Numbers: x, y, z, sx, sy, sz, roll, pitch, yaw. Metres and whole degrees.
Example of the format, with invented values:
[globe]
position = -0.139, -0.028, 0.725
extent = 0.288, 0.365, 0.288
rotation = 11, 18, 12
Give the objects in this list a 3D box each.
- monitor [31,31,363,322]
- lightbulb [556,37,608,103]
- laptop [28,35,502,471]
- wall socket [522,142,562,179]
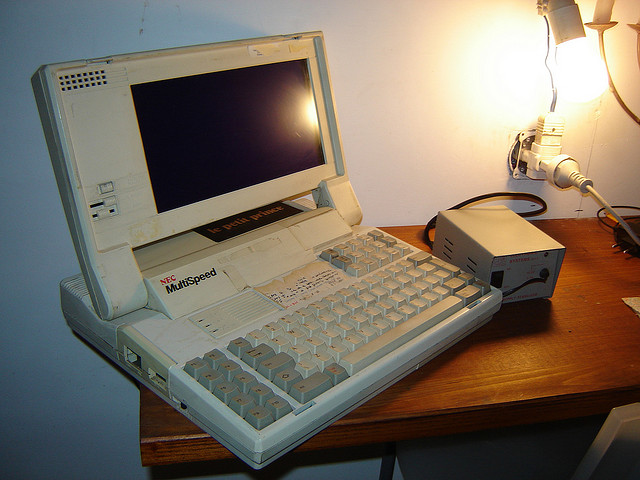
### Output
[monitor]
position = -0.215, -0.114, 0.833
extent = 0.610, 0.387, 0.208
rotation = -19, 43, -32
[lightbulb]
position = 0.615, -0.408, 1.126
extent = 0.100, 0.128, 0.090
rotation = -28, 30, 16
[laptop]
position = -0.045, -0.034, 0.837
extent = 0.562, 0.457, 0.644
rotation = 28, 35, 26
[wall socket]
position = 0.547, -0.193, 1.174
extent = 0.067, 0.096, 0.078
rotation = -13, 23, -1
